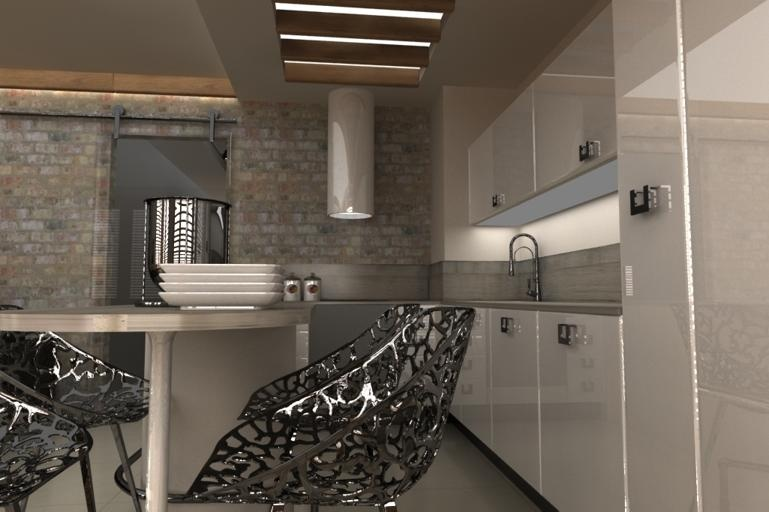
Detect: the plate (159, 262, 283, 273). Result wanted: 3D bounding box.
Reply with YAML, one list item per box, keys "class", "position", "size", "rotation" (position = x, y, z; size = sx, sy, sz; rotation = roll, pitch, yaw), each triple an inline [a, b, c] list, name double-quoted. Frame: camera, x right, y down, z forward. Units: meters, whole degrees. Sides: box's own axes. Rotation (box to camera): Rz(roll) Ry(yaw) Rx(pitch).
- class: "plate"
  position: [-0.640, 0.051, 2.335]
  size: [0.444, 0.043, 0.147]
  rotation: [-1, -1, -1]

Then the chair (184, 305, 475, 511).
- class: "chair"
  position: [-0.153, 0.708, 2.503]
  size: [0.993, 0.707, 1.155]
  rotation: [4, -10, 1]

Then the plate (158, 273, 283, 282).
- class: "plate"
  position: [-0.632, 0.085, 2.297]
  size: [0.457, 0.040, 0.084]
  rotation: [-1, -1, -12]
